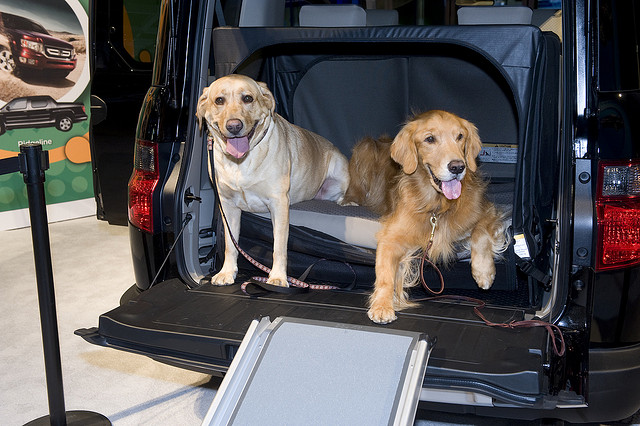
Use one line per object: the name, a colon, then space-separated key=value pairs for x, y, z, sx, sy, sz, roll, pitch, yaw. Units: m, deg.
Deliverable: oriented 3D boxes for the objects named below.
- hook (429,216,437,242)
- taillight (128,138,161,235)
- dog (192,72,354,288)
hook: x=0.799 y=0.109 z=3.724 sx=0.052 sy=0.171 sz=0.070 roll=3 pitch=10 yaw=6
taillight: x=-1.242 y=-0.197 z=3.732 sx=0.246 sy=0.645 sz=0.128 roll=9 pitch=12 yaw=33
dog: x=-0.378 y=-0.361 z=4.343 sx=0.809 sy=1.605 sz=1.848 roll=6 pitch=22 yaw=20
